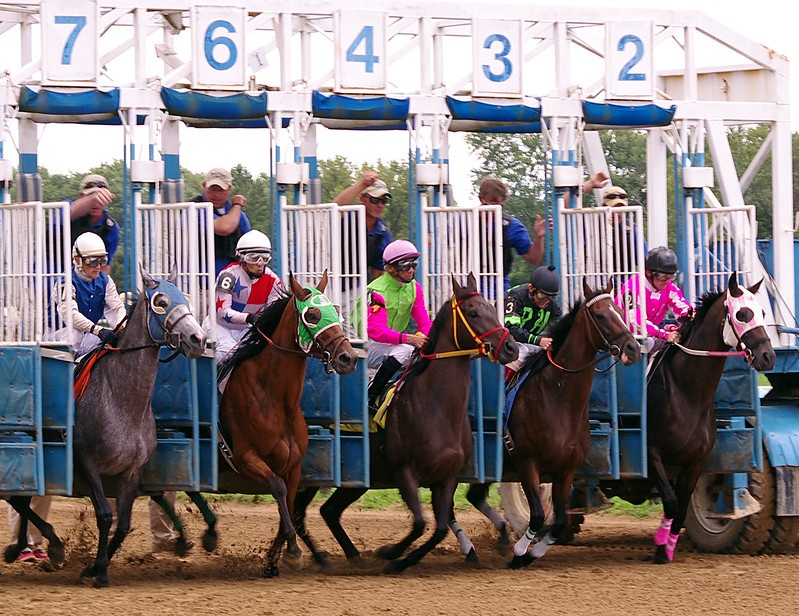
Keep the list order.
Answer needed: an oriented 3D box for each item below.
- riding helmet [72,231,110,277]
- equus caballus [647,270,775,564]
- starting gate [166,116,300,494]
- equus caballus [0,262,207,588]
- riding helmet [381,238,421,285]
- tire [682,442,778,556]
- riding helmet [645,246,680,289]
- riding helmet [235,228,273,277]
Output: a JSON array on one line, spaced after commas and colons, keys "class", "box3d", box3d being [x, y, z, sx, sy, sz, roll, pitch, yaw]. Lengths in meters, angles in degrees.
[{"class": "riding helmet", "box3d": [-2.450, -0.438, 11.326, 0.267, 0.230, 0.195, -5, -3, -22]}, {"class": "equus caballus", "box3d": [2.489, 0.900, 11.890, 1.020, 2.363, 0.507, -1, 2, 23]}, {"class": "starting gate", "box3d": [-1.260, 0.169, 11.209, 0.855, 3.237, 2.350, 0, -3, -3]}, {"class": "equus caballus", "box3d": [-1.928, 0.864, 10.750, 1.001, 2.285, 0.479, -2, 2, 3]}, {"class": "riding helmet", "box3d": [-0.009, -0.374, 11.549, 0.325, 0.318, 0.319, -8, -8, -38]}, {"class": "tire", "box3d": [2.930, 1.701, 12.635, 0.264, 0.777, 0.817, -2, -9, -30]}, {"class": "riding helmet", "box3d": [2.197, -0.348, 12.198, 0.288, 0.327, 0.318, -3, 6, -14]}, {"class": "riding helmet", "box3d": [-1.116, -0.431, 11.369, 0.284, 0.317, 0.336, -1, 6, -26]}]
